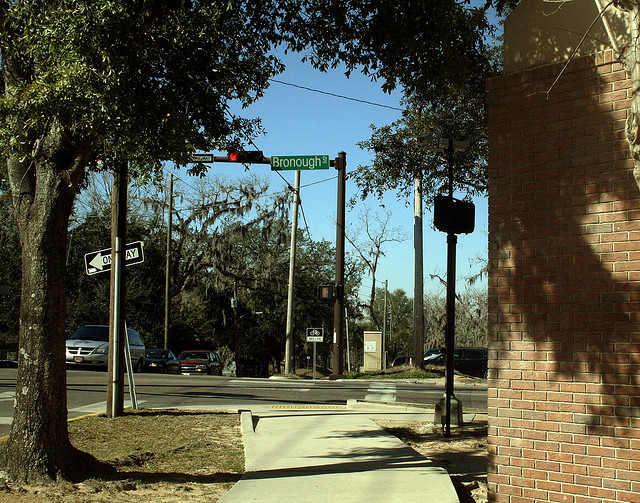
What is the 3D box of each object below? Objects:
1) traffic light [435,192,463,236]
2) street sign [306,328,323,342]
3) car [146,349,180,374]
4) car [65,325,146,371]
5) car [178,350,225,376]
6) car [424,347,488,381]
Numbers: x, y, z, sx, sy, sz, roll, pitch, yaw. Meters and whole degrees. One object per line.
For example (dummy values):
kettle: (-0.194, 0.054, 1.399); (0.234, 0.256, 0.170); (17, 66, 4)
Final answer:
traffic light: (2.022, -0.622, 11.876); (0.487, 0.595, 0.261); (5, -10, -31)
street sign: (-0.197, 2.900, 26.240); (0.456, 0.462, 0.075); (0, 0, 0)
car: (-6.313, 4.287, 29.660); (1.060, 0.969, 1.913); (0, -11, -3)
car: (-5.766, 2.549, 19.719); (1.414, 1.334, 2.879); (-3, -16, 10)
car: (-5.112, 4.641, 31.568); (1.568, 1.058, 2.547); (0, -11, -3)
car: (5.358, 4.251, 28.856); (2.046, 1.370, 4.204); (-1, -11, 4)
